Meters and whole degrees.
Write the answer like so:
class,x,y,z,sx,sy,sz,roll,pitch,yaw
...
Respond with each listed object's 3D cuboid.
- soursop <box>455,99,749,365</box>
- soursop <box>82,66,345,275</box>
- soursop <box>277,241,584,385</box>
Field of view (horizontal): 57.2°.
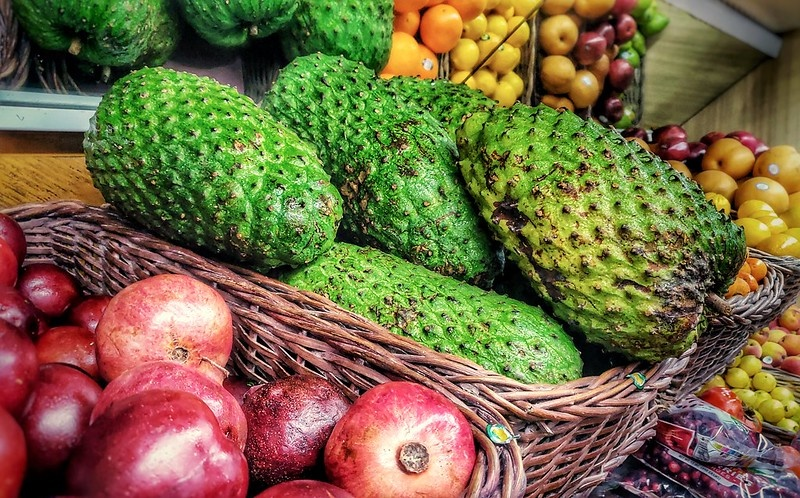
class,x,y,z,sx,sy,sz,roll,pitch,yaw
soursop,0.625,-0.088,2.740,1.049,0.568,0.665,36,10,16
soursop,-0.632,-0.266,2.720,0.897,0.525,0.553,23,5,-8
soursop,0.270,0.272,2.706,0.378,1.072,0.341,-30,110,-34
